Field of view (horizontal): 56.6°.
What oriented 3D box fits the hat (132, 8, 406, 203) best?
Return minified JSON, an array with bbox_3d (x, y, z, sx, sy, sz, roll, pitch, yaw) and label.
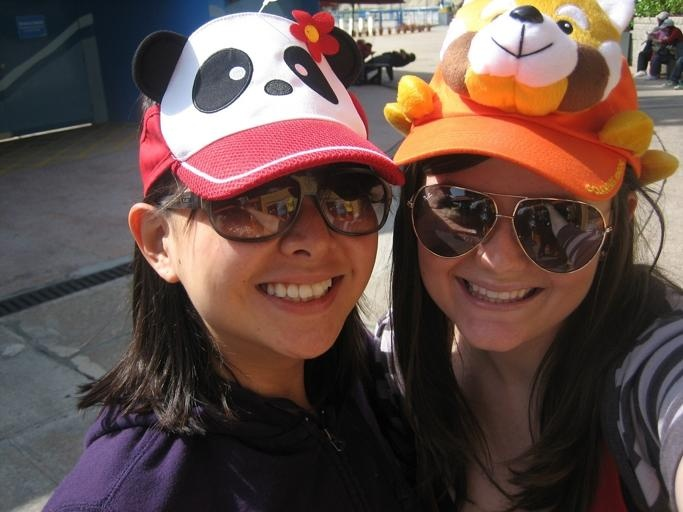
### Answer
[{"bbox_3d":[-0.305,-0.481,2.030,0.591,0.507,0.744,-8,8,-25],"label":"hat"}]
